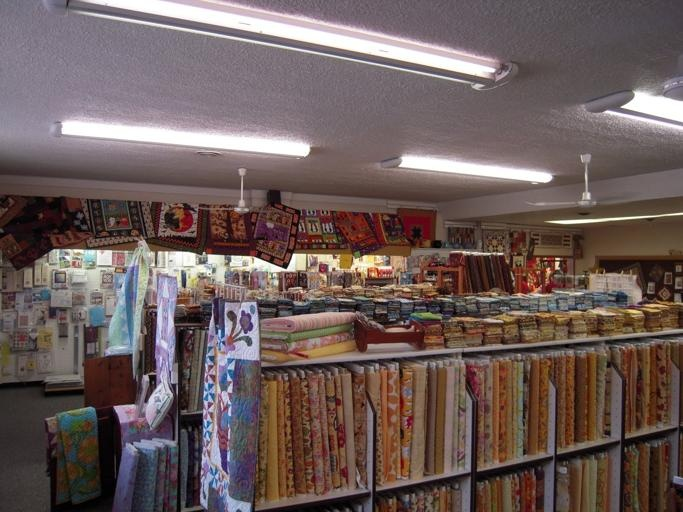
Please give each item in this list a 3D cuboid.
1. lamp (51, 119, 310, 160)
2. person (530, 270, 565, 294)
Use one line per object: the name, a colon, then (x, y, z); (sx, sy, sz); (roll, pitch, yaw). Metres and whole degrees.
lamp: (-1.782, -1.351, 6.079); (2.731, 0.165, 0.587); (-1, -2, -19)
person: (4.192, 0.518, 10.731); (0.455, 0.446, 0.808); (-2, -5, 17)
